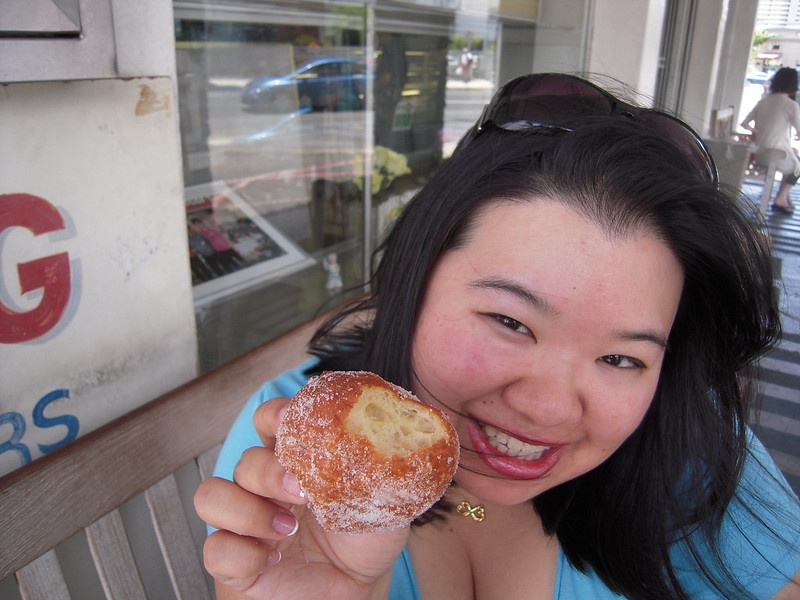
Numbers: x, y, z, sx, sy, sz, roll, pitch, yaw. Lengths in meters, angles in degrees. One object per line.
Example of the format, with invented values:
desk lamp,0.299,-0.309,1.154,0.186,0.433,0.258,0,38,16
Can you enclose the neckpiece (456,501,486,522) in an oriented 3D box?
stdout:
neckpiece,0.164,0.490,1.296,0.062,0.039,0.015,25,0,11
